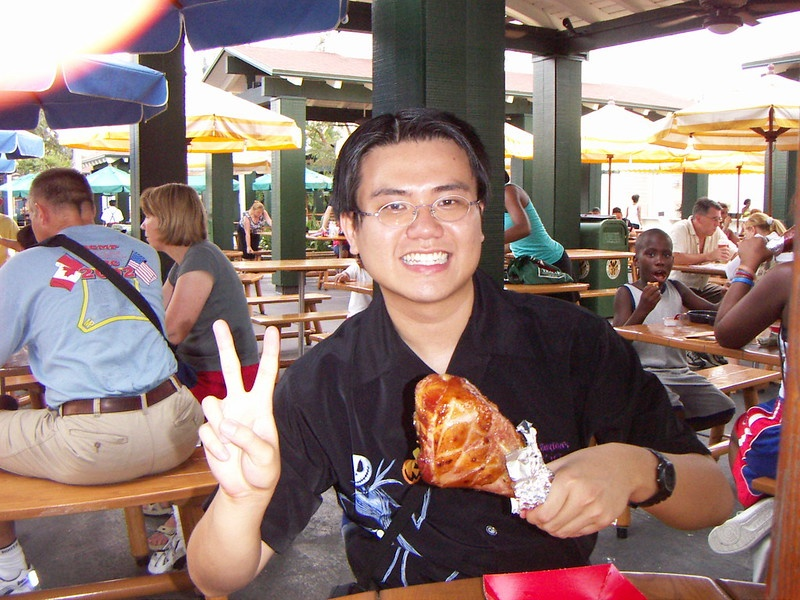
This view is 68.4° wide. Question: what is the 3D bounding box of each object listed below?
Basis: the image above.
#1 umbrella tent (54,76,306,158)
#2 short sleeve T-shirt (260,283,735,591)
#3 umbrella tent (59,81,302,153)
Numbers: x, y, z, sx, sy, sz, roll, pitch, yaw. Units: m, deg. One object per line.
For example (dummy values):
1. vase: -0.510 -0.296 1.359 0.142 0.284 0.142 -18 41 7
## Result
1. umbrella tent: -2.822 -2.370 7.966 2.495 0.706 2.293 -2 13 -10
2. short sleeve T-shirt: 0.277 0.452 2.091 1.756 0.888 0.870 -3 3 5
3. umbrella tent: -2.965 -2.348 7.993 2.525 0.677 2.309 1 12 4
